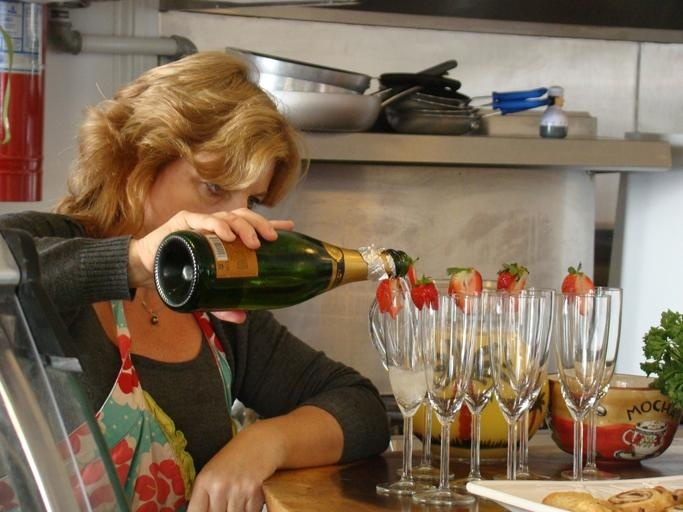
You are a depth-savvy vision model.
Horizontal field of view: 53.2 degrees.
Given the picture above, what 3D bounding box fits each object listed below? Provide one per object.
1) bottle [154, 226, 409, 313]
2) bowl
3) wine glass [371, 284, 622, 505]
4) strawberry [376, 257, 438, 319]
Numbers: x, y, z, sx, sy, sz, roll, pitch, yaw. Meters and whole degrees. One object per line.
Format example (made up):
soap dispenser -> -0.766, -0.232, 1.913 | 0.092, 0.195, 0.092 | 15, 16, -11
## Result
bottle -> -0.063, 0.019, 0.943 | 0.396, 0.114, 0.075 | -4, 8, -40
bowl -> 0.445, 0.278, 1.154 | 0.158, 0.104, 0.180 | 0, -7, 2
wine glass -> 0.224, 0.197, 1.023 | 0.339, 0.244, 0.281 | 1, -7, -4
strawberry -> 0.095, 0.051, 1.022 | 0.053, 0.064, 0.124 | -12, 12, 22
